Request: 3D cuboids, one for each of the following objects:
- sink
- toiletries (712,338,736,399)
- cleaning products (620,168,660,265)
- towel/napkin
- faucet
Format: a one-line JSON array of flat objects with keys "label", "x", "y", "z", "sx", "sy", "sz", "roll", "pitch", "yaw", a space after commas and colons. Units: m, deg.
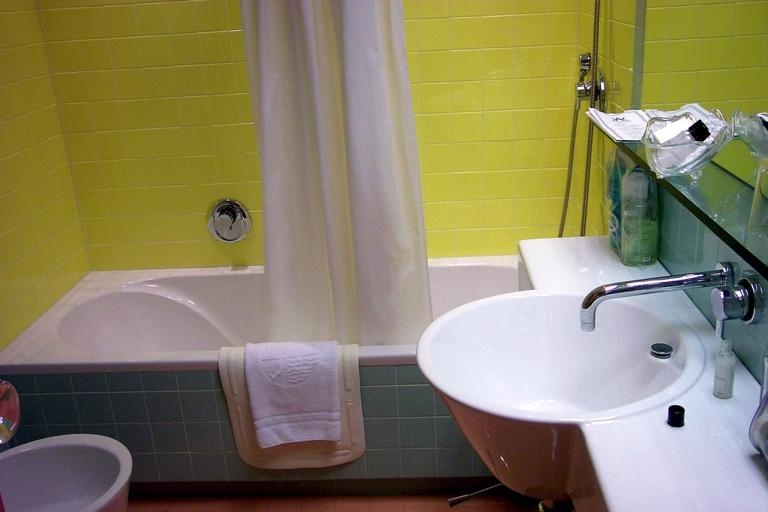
[{"label": "sink", "x": 0.432, "y": 0.372, "z": 1.502, "sx": 0.614, "sy": 0.360, "sz": 0.589, "roll": -23, "pitch": 32, "yaw": -36}, {"label": "toiletries", "x": 0.764, "y": 0.250, "z": 1.284, "sx": 0.047, "sy": 0.128, "sz": 0.068, "roll": 15, "pitch": 29, "yaw": 34}, {"label": "cleaning products", "x": 0.823, "y": -0.124, "z": 1.923, "sx": 0.082, "sy": 0.331, "sz": 0.119, "roll": 0, "pitch": 22, "yaw": 1}, {"label": "towel/napkin", "x": -0.338, "y": 0.535, "z": 2.203, "sx": 0.350, "sy": 0.393, "sz": 0.120, "roll": -5, "pitch": 11, "yaw": 2}, {"label": "faucet", "x": 0.627, "y": 0.082, "z": 1.355, "sx": 0.340, "sy": 0.144, "sz": 0.087, "roll": -3, "pitch": 24, "yaw": 0}]
